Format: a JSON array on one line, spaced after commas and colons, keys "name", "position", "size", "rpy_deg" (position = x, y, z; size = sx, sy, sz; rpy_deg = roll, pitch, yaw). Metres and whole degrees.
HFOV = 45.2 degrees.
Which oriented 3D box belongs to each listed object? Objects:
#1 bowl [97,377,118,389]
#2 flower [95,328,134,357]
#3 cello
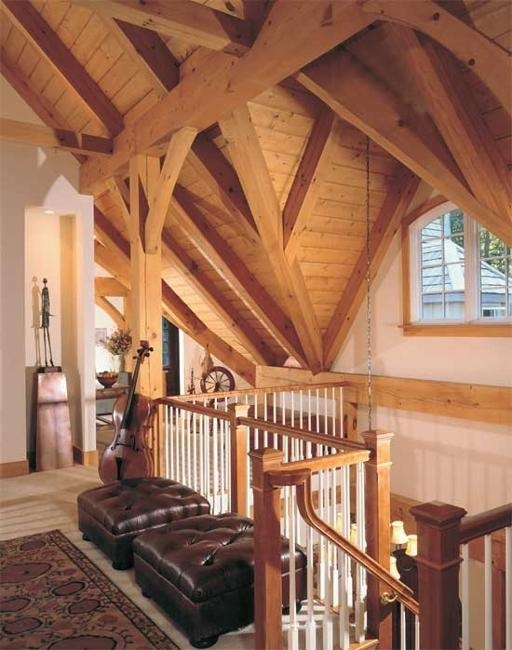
[{"name": "bowl", "position": [-1.620, 0.629, 6.773], "size": [0.166, 0.098, 0.159], "rpy_deg": [1, -6, 0]}, {"name": "flower", "position": [-1.897, 0.218, 8.239], "size": [0.432, 0.361, 0.449], "rpy_deg": [5, -6, -27]}, {"name": "cello", "position": [-0.823, 0.584, 4.056], "size": [0.354, 0.936, 0.154], "rpy_deg": [1, -11, 24]}]
